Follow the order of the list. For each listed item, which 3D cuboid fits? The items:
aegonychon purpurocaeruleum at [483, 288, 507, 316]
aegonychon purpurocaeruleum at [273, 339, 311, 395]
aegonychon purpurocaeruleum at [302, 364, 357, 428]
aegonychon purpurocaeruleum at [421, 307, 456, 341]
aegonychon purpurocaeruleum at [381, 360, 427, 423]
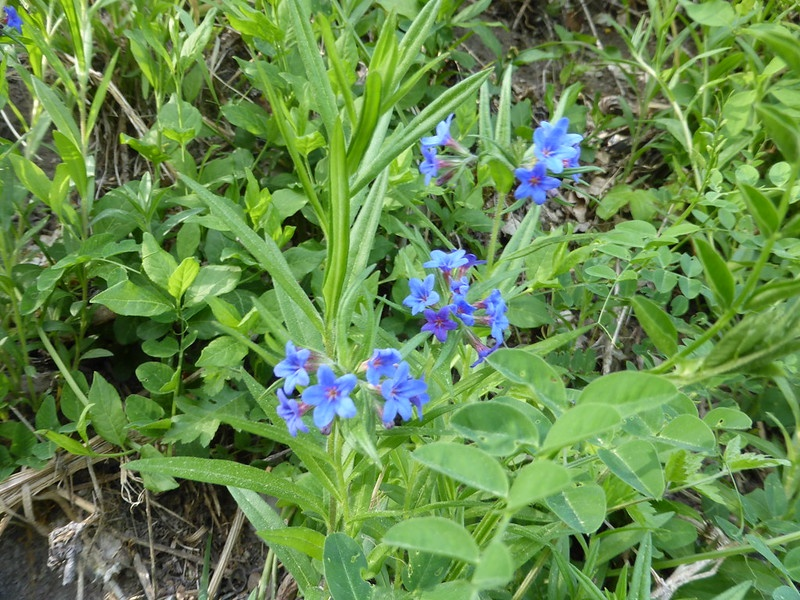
[{"bbox_3d":[0.359,0.015,2.639,0.038,0.093,0.088,13,37,36],"label":"aegonychon purpurocaeruleum"},{"bbox_3d":[-0.356,0.223,2.301,0.108,0.077,0.155,-1,63,-9],"label":"aegonychon purpurocaeruleum"},{"bbox_3d":[-0.225,0.307,2.268,0.175,0.223,0.047,12,19,-5],"label":"aegonychon purpurocaeruleum"},{"bbox_3d":[0.150,0.089,2.572,0.133,0.112,0.101,8,60,-4],"label":"aegonychon purpurocaeruleum"},{"bbox_3d":[0.009,0.313,2.339,0.171,0.062,0.203,9,80,-17],"label":"aegonychon purpurocaeruleum"}]
